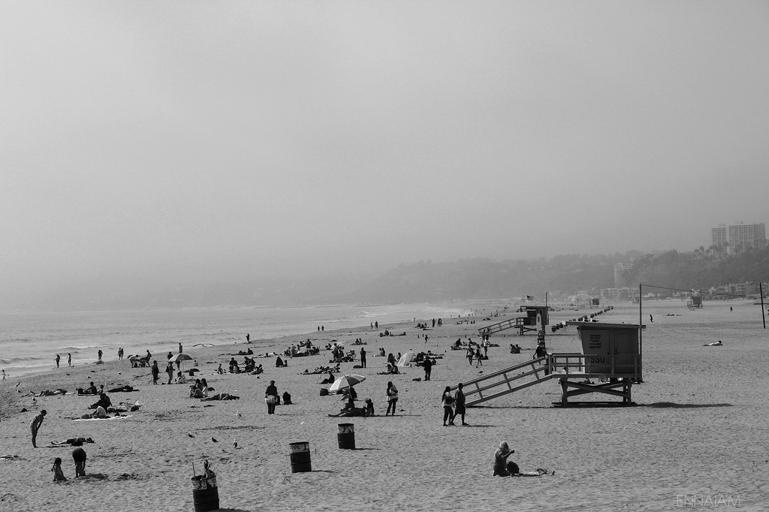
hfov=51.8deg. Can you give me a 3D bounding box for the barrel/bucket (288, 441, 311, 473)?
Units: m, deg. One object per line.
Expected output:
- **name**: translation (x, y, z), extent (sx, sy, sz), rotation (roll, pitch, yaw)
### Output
- **barrel/bucket**: translation (-3.364, 8.060, 31.843), extent (1.082, 1.050, 1.047), rotation (-1, -10, 0)

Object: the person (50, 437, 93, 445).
- **person**: translation (-14.581, 8.639, 37.151), extent (2.224, 0.312, 1.064), rotation (-3, -3, 29)

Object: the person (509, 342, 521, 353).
- **person**: translation (11.208, 7.918, 67.825), extent (0.566, 0.642, 0.980), rotation (1, -12, -14)

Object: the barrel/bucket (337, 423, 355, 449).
- **barrel/bucket**: translation (-1.623, 7.753, 34.333), extent (0.753, 1.043, 0.642), rotation (-2, -2, -4)

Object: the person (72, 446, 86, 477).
- **person**: translation (-12.452, 8.327, 32.289), extent (0.518, 1.403, 0.536), rotation (4, 3, -13)

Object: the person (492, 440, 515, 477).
- **person**: translation (4.511, 7.748, 30.545), extent (0.693, 1.251, 0.639), rotation (-2, -3, 7)
